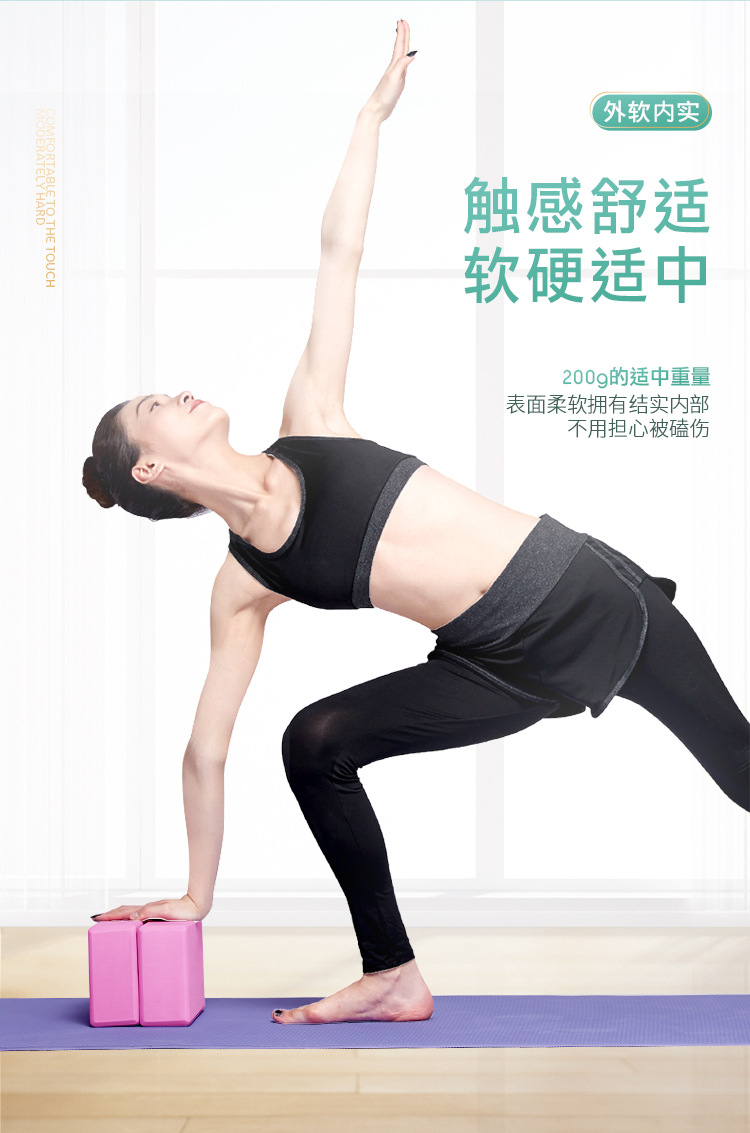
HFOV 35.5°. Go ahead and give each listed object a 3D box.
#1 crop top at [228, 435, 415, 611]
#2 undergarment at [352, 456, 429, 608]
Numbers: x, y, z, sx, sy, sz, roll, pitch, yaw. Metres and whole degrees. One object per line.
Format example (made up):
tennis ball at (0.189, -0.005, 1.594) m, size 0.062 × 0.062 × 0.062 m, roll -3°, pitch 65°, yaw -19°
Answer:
crop top at (-0.090, -0.078, 2.041) m, size 0.334 × 0.207 × 0.174 m, roll 13°, pitch -1°, yaw 7°
undergarment at (0.001, -0.064, 2.060) m, size 0.128 × 0.266 × 0.148 m, roll -2°, pitch -4°, yaw 29°
